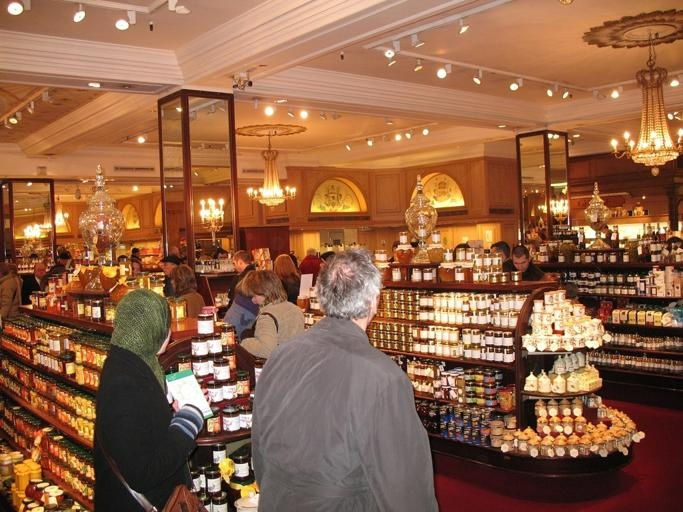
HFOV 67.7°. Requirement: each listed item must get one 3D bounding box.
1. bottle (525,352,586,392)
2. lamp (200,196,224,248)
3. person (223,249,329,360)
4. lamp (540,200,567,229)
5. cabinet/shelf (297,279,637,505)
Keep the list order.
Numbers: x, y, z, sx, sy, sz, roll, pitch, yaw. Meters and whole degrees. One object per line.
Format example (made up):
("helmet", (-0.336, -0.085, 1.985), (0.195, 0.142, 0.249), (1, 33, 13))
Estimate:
("bottle", (2.079, 1.109, 4.879), (0.493, 0.148, 0.334), (-1, 2, -31))
("lamp", (-1.792, -0.463, 6.999), (0.293, 0.521, 0.363), (-3, 2, 8))
("person", (-0.617, 0.388, 4.524), (0.701, 0.855, 0.965), (3, 5, 20))
("lamp", (4.234, -0.833, 10.058), (0.500, 0.586, 0.146), (-3, 2, -9))
("cabinet/shelf", (1.093, 1.079, 4.014), (0.925, 1.254, 2.359), (2, -3, -42))
